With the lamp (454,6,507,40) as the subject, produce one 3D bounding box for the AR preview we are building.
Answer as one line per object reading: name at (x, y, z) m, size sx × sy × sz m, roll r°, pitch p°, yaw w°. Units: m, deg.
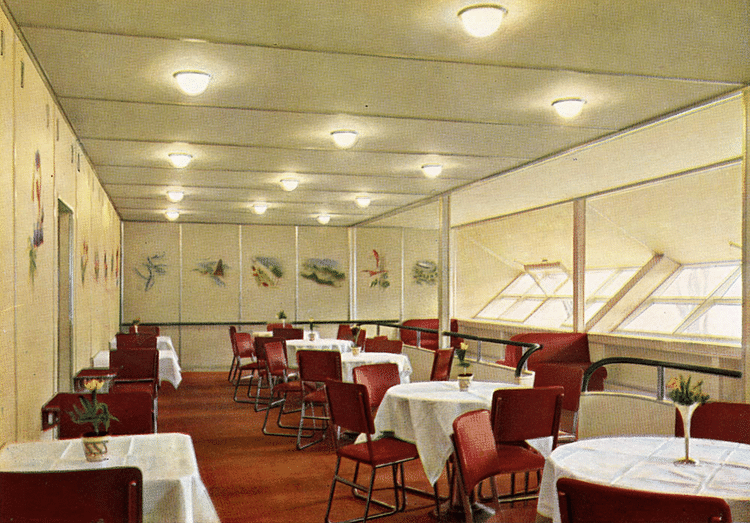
lamp at (0.715, -1.650, 4.311) m, size 0.301 × 0.083 × 0.257 m, roll -1°, pitch -1°, yaw 12°
